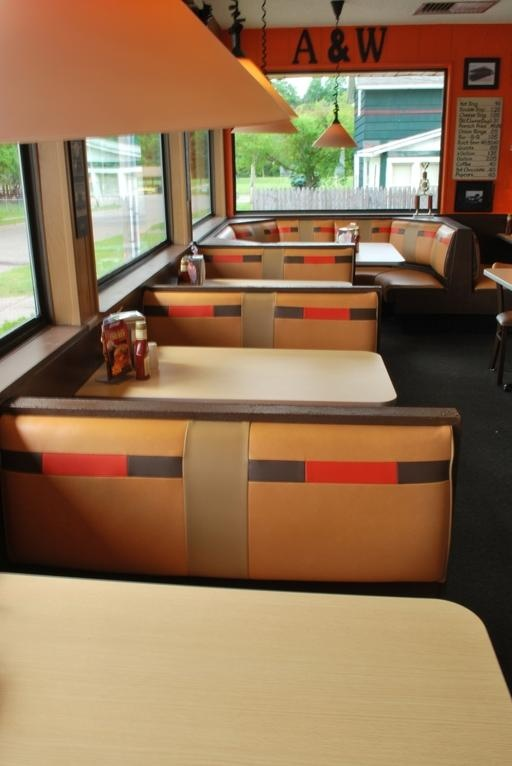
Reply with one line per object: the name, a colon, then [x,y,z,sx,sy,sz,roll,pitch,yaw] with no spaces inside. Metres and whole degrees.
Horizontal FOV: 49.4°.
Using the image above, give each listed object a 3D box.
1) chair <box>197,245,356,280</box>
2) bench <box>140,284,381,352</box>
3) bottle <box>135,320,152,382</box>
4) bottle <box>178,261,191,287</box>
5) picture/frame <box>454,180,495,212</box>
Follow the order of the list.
chair: [0.142,-0.912,4.210,1.174,0.297,0.242,5,22,9]
bench: [0.035,-0.264,3.073,1.251,0.580,0.465,2,13,5]
bottle: [-0.436,-0.137,2.113,0.056,0.210,0.160,-4,22,-11]
bottle: [-0.432,-0.651,3.305,0.068,0.133,0.161,-2,23,-7]
picture/frame: [2.636,-2.270,6.673,0.337,0.310,0.035,2,12,5]
